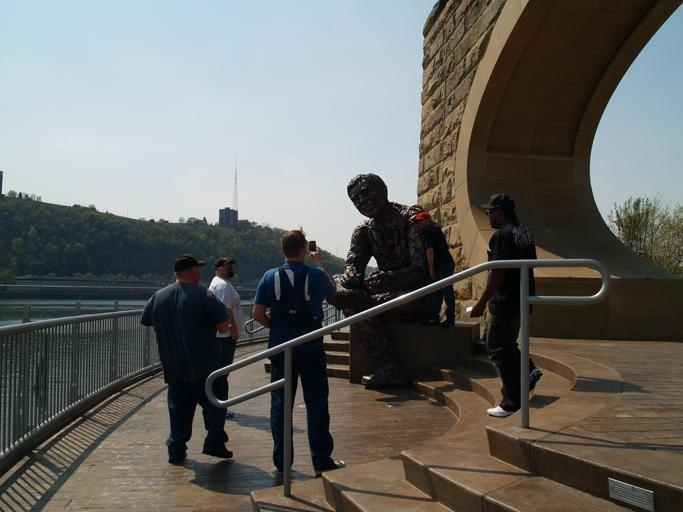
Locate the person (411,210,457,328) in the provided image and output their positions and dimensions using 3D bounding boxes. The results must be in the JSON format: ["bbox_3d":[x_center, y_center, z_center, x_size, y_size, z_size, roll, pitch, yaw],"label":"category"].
[{"bbox_3d":[1.420,0.171,8.834,0.469,1.495,0.668,-8,2,1],"label":"person"}]

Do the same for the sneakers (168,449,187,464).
[{"bbox_3d":[-1.606,1.971,5.955,0.178,0.153,0.160,-9,2,-21],"label":"sneakers"}]

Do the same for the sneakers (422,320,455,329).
[{"bbox_3d":[1.406,0.979,8.750,0.432,0.191,0.151,7,-8,4],"label":"sneakers"}]

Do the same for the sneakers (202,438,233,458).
[{"bbox_3d":[-1.216,1.925,6.040,0.372,0.175,0.131,20,-4,-37],"label":"sneakers"}]

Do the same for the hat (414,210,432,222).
[{"bbox_3d":[1.237,-0.595,9.071,0.209,0.114,0.147,8,-7,-23],"label":"hat"}]

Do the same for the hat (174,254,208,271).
[{"bbox_3d":[-1.562,0.074,6.227,0.159,0.131,0.245,2,10,42],"label":"hat"}]

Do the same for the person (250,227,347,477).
[{"bbox_3d":[-0.385,0.898,5.684,0.798,2.207,0.838,-8,2,6],"label":"person"}]

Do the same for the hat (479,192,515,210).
[{"bbox_3d":[1.558,-0.532,6.001,0.266,0.153,0.194,4,5,16],"label":"hat"}]

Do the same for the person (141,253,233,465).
[{"bbox_3d":[-1.490,1.034,6.049,0.828,2.114,0.659,-8,2,-11],"label":"person"}]

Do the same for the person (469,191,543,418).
[{"bbox_3d":[1.528,0.419,5.897,0.673,2.058,0.695,0,3,34],"label":"person"}]
